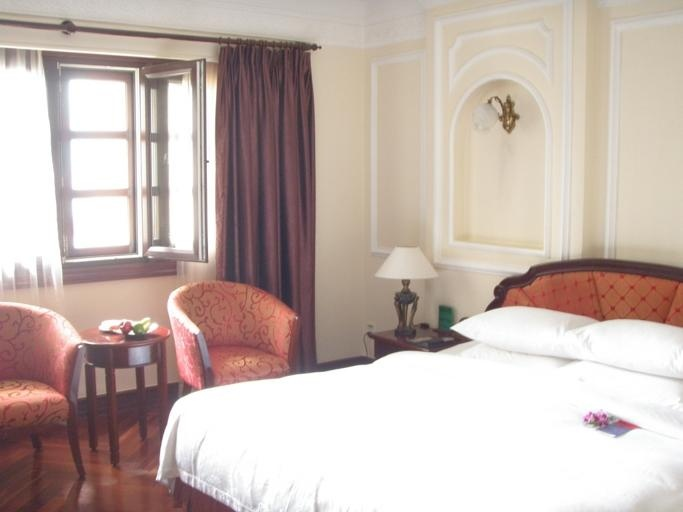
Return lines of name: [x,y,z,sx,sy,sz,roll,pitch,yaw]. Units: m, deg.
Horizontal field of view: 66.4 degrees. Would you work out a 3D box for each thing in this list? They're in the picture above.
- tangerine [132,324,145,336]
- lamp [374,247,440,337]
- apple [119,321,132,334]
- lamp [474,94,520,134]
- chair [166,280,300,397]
tangerine: [-1.482,0.541,3.829,0.062,0.055,0.111,1,11,-9]
lamp: [0.558,0.322,4.576,0.519,0.779,0.543,3,6,22]
apple: [-1.583,0.531,3.827,0.086,0.065,0.078,-9,-5,41]
lamp: [1.263,-1.128,4.327,0.322,0.361,0.303,-5,6,-33]
chair: [-0.907,0.620,4.301,0.900,1.057,0.893,-1,1,-31]
